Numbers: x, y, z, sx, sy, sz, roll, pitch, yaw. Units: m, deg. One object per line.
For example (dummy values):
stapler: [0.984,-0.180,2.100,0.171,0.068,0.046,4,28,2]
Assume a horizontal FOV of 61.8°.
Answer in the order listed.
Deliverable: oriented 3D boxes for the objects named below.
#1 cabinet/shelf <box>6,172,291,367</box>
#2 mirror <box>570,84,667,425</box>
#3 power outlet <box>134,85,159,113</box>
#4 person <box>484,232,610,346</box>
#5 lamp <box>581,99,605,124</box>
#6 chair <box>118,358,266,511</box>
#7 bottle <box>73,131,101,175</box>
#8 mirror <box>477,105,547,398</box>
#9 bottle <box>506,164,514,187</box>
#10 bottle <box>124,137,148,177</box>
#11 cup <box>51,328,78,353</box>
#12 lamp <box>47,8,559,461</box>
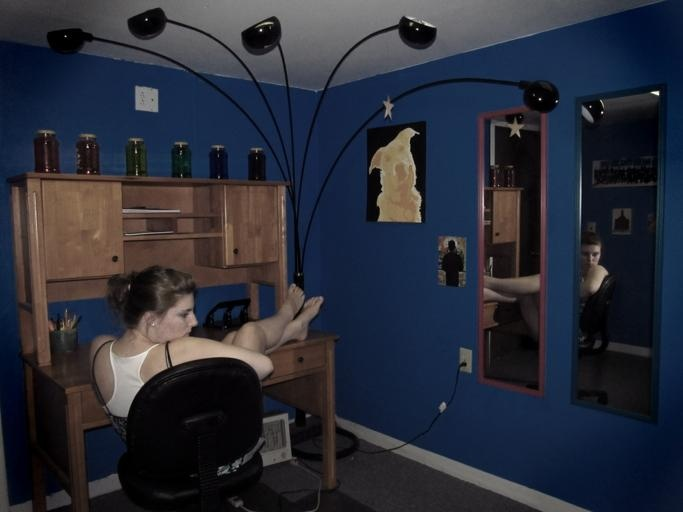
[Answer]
cabinet/shelf: [-1.090,0.009,3.575,1.440,0.993,0.448,-3,6,-32]
mirror: [1.533,-0.051,3.022,0.355,1.662,0.025,-3,8,24]
power outlet: [-1.259,-1.004,3.640,0.156,0.173,0.015,-9,11,-42]
person: [1.191,0.199,3.392,0.829,0.649,0.405,2,-15,31]
lamp: [1.364,-0.785,3.107,0.100,0.131,0.108,-2,-5,18]
chair: [-0.642,0.696,2.620,0.639,0.803,0.652,-2,8,-22]
bottle: [-1.460,-0.585,3.260,0.126,0.235,0.265,-8,11,-24]
mirror: [1.034,-0.013,3.418,0.412,1.687,0.027,5,13,40]
bottle: [1.001,-0.473,3.385,0.016,0.125,0.060,-12,13,-42]
bottle: [-1.269,-0.590,3.512,0.175,0.246,0.176,0,-1,0]
cup: [-1.564,0.479,3.210,0.118,0.100,0.116,1,5,0]
lamp: [-0.145,-0.139,3.295,1.696,2.231,2.038,-9,13,-42]
